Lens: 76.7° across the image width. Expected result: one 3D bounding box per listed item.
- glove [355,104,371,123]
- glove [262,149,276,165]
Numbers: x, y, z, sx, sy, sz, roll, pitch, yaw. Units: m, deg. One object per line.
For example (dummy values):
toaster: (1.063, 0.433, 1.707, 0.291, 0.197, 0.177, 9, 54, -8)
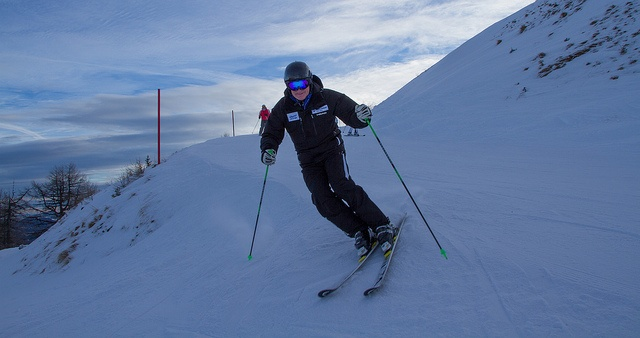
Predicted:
glove: (1.256, -1.623, 11.890, 0.457, 0.581, 0.288, -6, 5, 2)
glove: (-1.548, -0.363, 12.260, 0.391, 0.467, 0.227, 28, 5, -4)
